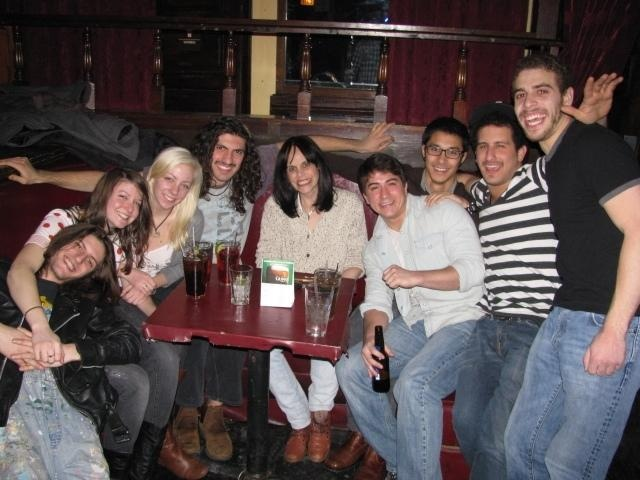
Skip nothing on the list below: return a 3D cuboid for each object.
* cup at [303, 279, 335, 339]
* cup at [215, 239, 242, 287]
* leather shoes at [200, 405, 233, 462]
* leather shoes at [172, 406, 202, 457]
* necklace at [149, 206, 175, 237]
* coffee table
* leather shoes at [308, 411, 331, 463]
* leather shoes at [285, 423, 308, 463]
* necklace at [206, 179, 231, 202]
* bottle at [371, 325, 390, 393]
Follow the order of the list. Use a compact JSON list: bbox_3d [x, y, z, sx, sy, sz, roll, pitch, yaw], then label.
[{"bbox_3d":[-0.012,0.298,1.999,0.100,0.201,0.093,2,16,-1],"label":"cup"},{"bbox_3d":[-0.462,0.120,2.386,0.138,0.224,0.143,1,28,-1],"label":"cup"},{"bbox_3d":[-0.592,1.089,2.710,0.118,0.158,0.357,-2,7,-15],"label":"leather shoes"},{"bbox_3d":[-0.750,1.080,2.700,0.106,0.215,0.319,3,-1,-22],"label":"leather shoes"},{"bbox_3d":[-0.920,-0.106,2.746,0.097,0.043,0.154,15,52,2],"label":"necklace"},{"bbox_3d":[-0.286,0.656,2.498,0.801,0.880,0.860,6,22,11],"label":"coffee table"},{"bbox_3d":[0.004,1.068,2.642,0.097,0.119,0.296,1,29,3],"label":"leather shoes"},{"bbox_3d":[-0.125,1.130,2.675,0.080,0.099,0.227,1,7,11],"label":"leather shoes"},{"bbox_3d":[-0.657,-0.315,3.073,0.103,0.105,0.143,-21,2,-37],"label":"necklace"},{"bbox_3d":[0.303,0.576,2.330,0.096,0.379,0.169,5,16,8],"label":"bottle"}]
